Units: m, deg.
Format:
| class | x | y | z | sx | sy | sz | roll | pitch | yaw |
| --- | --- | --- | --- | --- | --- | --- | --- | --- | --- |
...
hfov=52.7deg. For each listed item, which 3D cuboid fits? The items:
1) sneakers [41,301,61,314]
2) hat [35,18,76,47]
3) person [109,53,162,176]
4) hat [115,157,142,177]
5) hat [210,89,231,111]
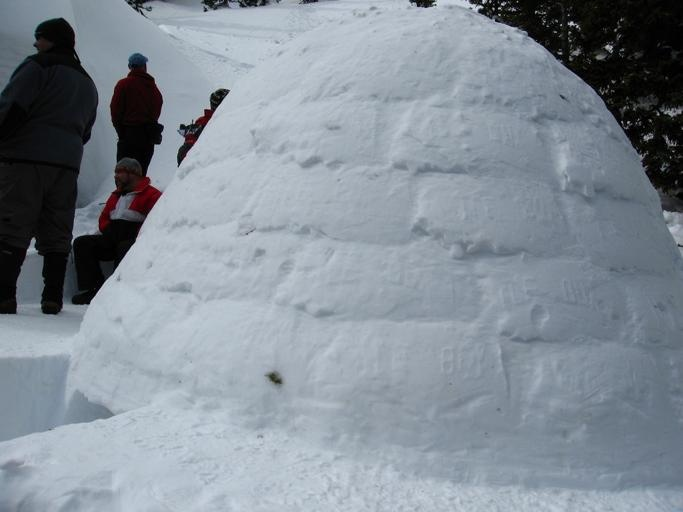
| class | x | y | z | sx | sy | sz | roll | pitch | yaw |
| --- | --- | --- | --- | --- | --- | --- | --- | --- | --- |
| sneakers | -1.731 | 0.309 | 4.141 | 0.047 | 0.059 | 0.138 | 6 | -14 | -31 |
| hat | -1.837 | -1.460 | 4.499 | 0.235 | 0.209 | 0.175 | -17 | 28 | -29 |
| person | -1.652 | -1.145 | 5.576 | 0.393 | 0.955 | 0.497 | 6 | 12 | -12 |
| hat | -1.501 | -0.631 | 4.898 | 0.114 | 0.123 | 0.155 | 4 | 7 | -1 |
| hat | -0.974 | -1.236 | 5.480 | 0.110 | 0.182 | 0.585 | 6 | 12 | -12 |
